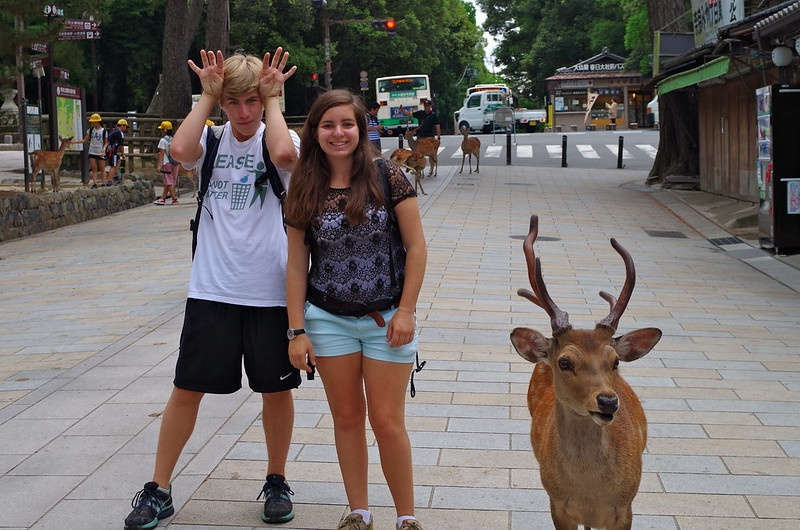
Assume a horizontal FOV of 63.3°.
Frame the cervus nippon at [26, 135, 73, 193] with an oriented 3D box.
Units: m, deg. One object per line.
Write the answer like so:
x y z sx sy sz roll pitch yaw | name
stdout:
-9.253 -2.672 17.337 0.981 1.341 4.048 -6 13 -25 | cervus nippon

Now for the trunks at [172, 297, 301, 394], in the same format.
-0.960 0.513 4.027 0.980 0.712 0.530 0 -5 -5 | trunks

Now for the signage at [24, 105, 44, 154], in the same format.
-8.889 -3.291 15.758 0.312 1.125 0.959 -7 13 -26 | signage

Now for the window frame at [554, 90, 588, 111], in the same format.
15.158 -14.761 57.911 2.311 1.409 0.195 0 4 -2 | window frame

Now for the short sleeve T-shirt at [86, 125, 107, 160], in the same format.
-8.851 -3.558 19.030 0.575 0.877 0.738 -6 13 -25 | short sleeve T-shirt

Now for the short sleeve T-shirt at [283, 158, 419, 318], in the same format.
-0.274 -0.139 3.716 0.870 0.836 0.453 -2 6 4 | short sleeve T-shirt

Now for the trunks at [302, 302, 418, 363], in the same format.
-0.279 0.407 3.723 0.507 0.429 0.338 -1 6 1 | trunks

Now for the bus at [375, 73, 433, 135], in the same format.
0.358 -10.981 44.894 3.681 3.621 6.752 -1 6 0 | bus

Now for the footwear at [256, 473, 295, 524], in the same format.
-0.775 1.484 4.090 0.154 0.131 0.310 -1 -1 -8 | footwear
